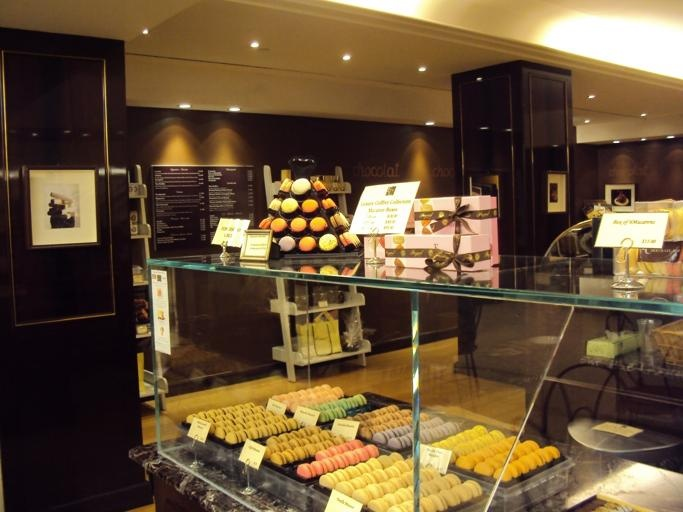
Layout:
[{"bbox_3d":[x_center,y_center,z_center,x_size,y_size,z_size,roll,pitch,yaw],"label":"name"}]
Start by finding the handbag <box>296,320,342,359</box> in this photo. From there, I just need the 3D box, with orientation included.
[{"bbox_3d":[-0.072,0.290,1.803,0.137,0.121,0.056,-10,12,-2],"label":"handbag"}]

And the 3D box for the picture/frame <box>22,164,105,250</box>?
[{"bbox_3d":[-1.694,-0.301,3.035,0.477,0.599,0.038,-5,6,-38],"label":"picture/frame"}]

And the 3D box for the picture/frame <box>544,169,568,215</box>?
[{"bbox_3d":[2.077,-0.636,4.926,0.068,0.533,0.440,-3,-2,44],"label":"picture/frame"}]

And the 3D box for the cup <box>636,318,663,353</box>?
[{"bbox_3d":[0.715,0.190,1.174,0.051,0.075,0.048,5,-11,1],"label":"cup"}]
